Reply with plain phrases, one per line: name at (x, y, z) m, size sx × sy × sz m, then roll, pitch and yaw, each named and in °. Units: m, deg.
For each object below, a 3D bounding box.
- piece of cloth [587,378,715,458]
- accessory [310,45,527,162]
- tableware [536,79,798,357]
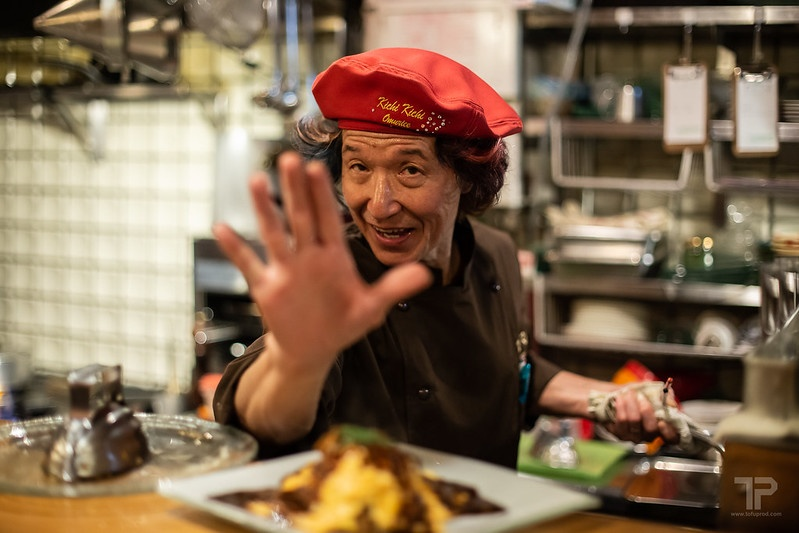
piece of cloth at (0.704, 0.389, 2.276) m, size 0.140 × 0.164 × 0.500 m, roll 0°, pitch 3°, yaw -27°
accessory at (0.056, -0.452, 2.297) m, size 0.339 × 0.117 × 0.335 m, roll 8°, pitch -2°, yaw -42°
tableware at (1.166, -0.209, 3.672) m, size 1.309 × 1.184 × 0.438 m, roll 1°, pitch 1°, yaw 11°
